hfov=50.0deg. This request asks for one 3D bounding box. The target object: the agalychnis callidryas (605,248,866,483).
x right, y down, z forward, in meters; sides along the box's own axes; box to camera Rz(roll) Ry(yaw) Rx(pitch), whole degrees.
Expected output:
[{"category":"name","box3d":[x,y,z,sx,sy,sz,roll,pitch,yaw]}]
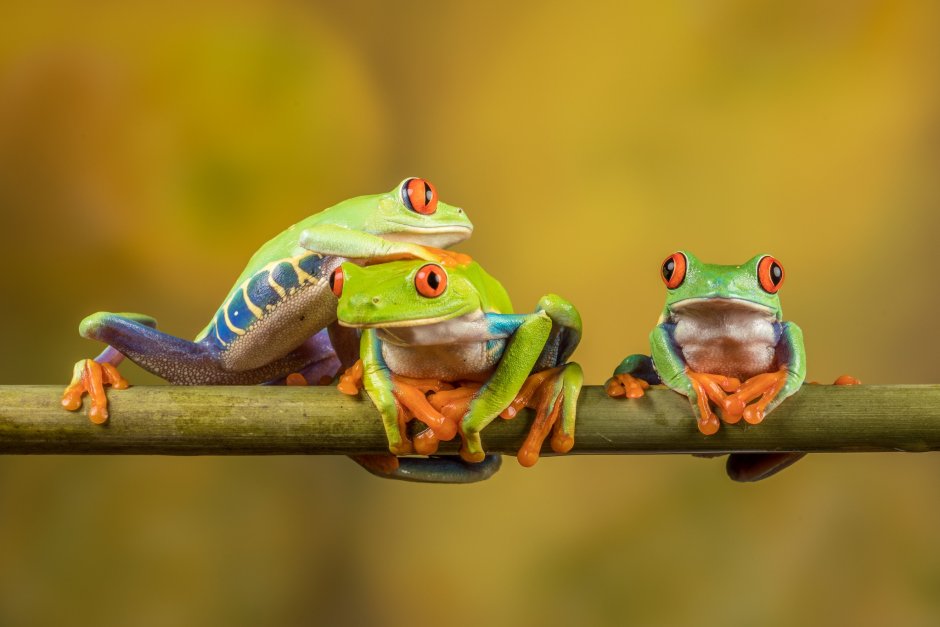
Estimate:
[{"category":"agalychnis callidryas","box3d":[0.823,0.090,3.226,0.491,0.561,0.309,5,7,17]}]

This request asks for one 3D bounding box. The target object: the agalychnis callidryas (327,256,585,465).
[{"category":"agalychnis callidryas","box3d":[-0.019,0.121,3.125,0.663,0.450,0.683,1,5,36]}]
